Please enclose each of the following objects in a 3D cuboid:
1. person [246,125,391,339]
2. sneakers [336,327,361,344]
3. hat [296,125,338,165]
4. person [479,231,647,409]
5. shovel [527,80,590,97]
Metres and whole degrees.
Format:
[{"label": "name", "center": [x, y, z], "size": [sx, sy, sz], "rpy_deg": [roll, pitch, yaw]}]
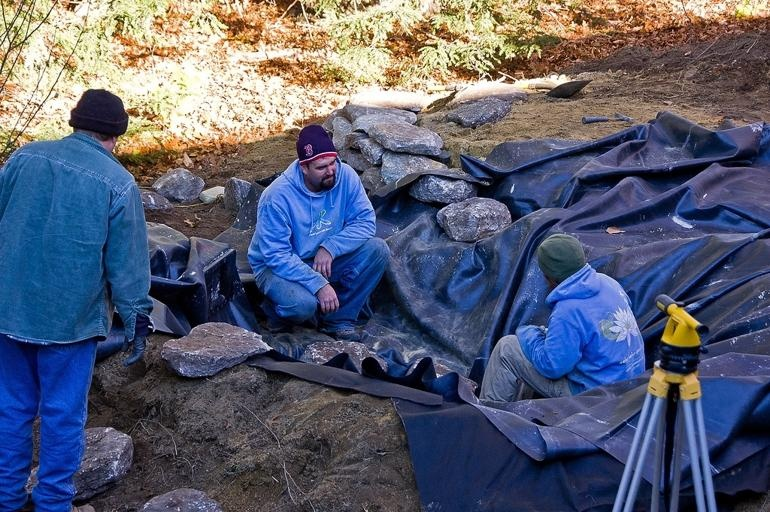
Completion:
[{"label": "person", "center": [-0.610, -0.209, 8.355], "size": [1.250, 1.891, 0.723], "rpy_deg": [3, 22, -9]}, {"label": "sneakers", "center": [-0.340, 0.736, 8.489], "size": [0.215, 0.091, 0.113], "rpy_deg": [15, 0, 3]}, {"label": "hat", "center": [-0.673, -1.005, 8.283], "size": [0.389, 0.330, 0.295], "rpy_deg": [-10, 5, 18]}, {"label": "person", "center": [1.475, 0.620, 7.343], "size": [1.240, 1.474, 0.420], "rpy_deg": [13, 23, 16]}, {"label": "shovel", "center": [2.101, -2.005, 11.003], "size": [0.216, 0.102, 0.739], "rpy_deg": [0, -6, -27]}]
